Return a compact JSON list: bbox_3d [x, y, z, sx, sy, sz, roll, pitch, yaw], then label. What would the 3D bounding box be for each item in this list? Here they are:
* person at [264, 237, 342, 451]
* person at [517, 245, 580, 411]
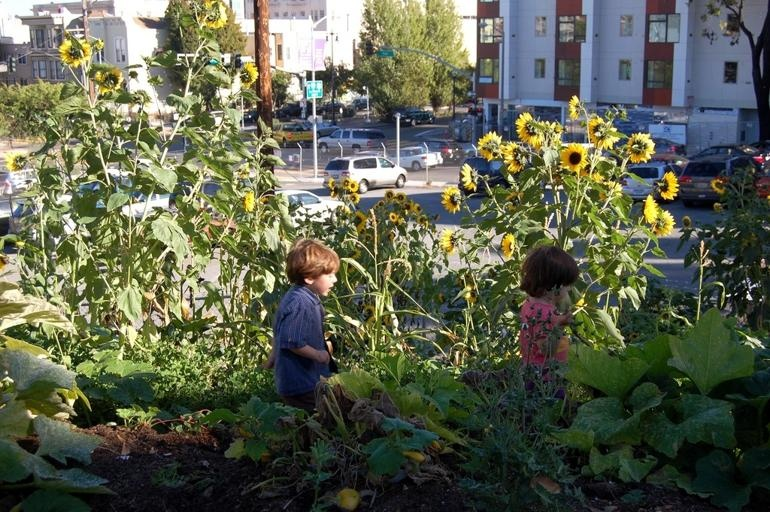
[{"bbox_3d":[-0.534,0.583,4.715,0.470,1.611,0.630,-9,20,-30],"label":"person"},{"bbox_3d":[0.998,0.376,4.482,0.356,0.815,1.221,0,11,14],"label":"person"}]
